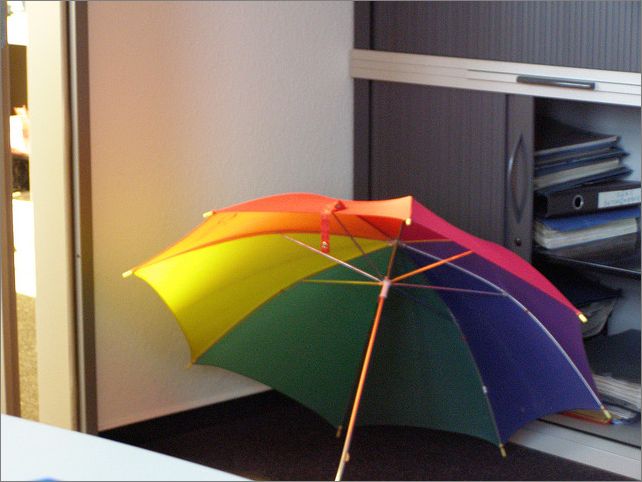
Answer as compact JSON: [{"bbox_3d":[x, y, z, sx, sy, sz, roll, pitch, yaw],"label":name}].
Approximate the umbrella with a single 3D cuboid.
[{"bbox_3d":[0.164,0.222,1.822,0.885,0.938,0.608,8,42,19],"label":"umbrella"}]
